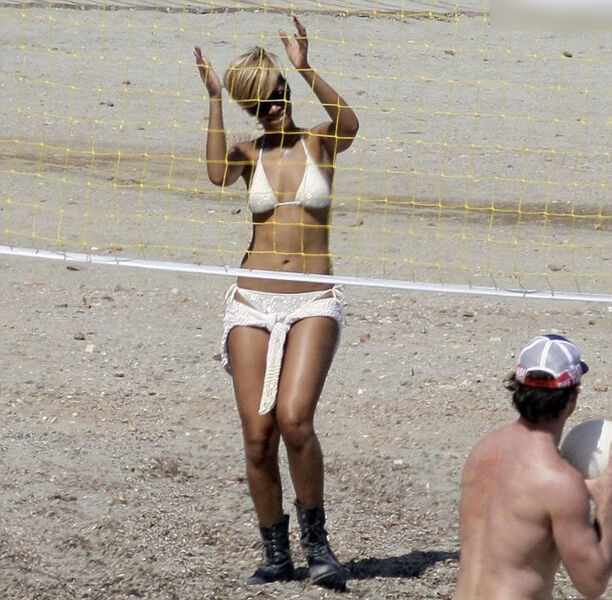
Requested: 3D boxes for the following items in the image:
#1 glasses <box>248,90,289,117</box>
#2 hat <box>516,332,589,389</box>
[{"bbox_3d":[-0.164,-0.870,4.091,0.170,0.142,0.176,8,11,-3],"label":"glasses"},{"bbox_3d":[0.798,0.167,2.978,0.234,0.092,0.297,11,21,21],"label":"hat"}]
